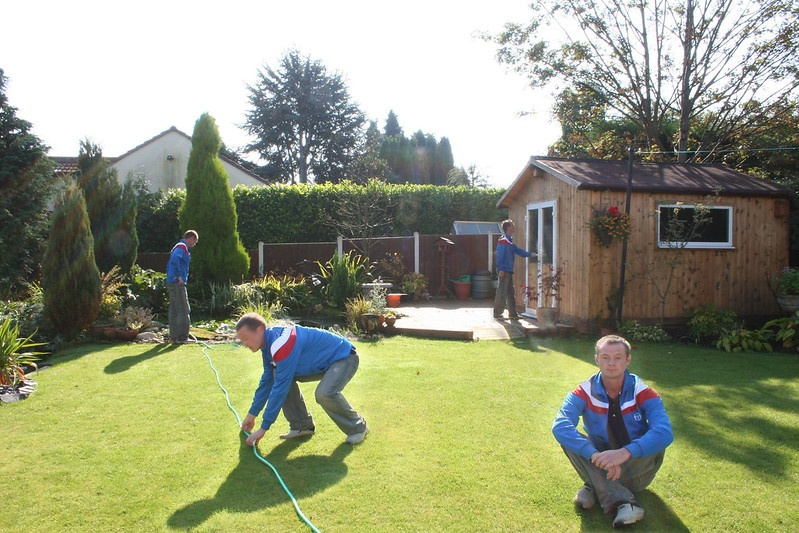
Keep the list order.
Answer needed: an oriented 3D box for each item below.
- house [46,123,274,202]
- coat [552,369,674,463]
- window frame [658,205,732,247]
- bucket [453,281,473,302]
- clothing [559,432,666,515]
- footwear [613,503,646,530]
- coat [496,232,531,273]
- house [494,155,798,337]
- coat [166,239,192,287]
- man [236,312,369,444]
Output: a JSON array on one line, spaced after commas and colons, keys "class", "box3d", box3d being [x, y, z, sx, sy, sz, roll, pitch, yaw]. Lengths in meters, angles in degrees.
[{"class": "house", "box3d": [-10.562, -5.016, 28.608, 6.097, 3.798, 6.115, 0, -2, -36]}, {"class": "coat", "box3d": [2.460, 1.780, 6.747, 0.947, 0.856, 1.145, -10, -11, 19]}, {"class": "window frame", "box3d": [6.565, -0.868, 12.952, 1.857, 0.865, 0.629, 0, -1, -24]}, {"class": "bucket", "box3d": [1.963, 0.791, 18.166, 0.501, 0.453, 0.534, 0, -6, 0]}, {"class": "clothing", "box3d": [2.450, 2.055, 6.730, 1.084, 0.751, 0.663, -11, 21, 5]}, {"class": "footwear", "box3d": [2.567, 2.767, 6.562, 0.164, 0.205, 0.419, -17, -9, 41]}, {"class": "coat", "box3d": [2.603, -0.323, 13.311, 0.794, 1.083, 0.782, 0, 3, 1]}, {"class": "house", "box3d": [5.700, -0.635, 13.689, 5.527, 3.413, 2.685, -1, -1, -7]}, {"class": "coat", "box3d": [-4.324, -0.082, 11.549, 0.384, 0.857, 0.431, -1, -1, -24]}, {"class": "man", "box3d": [-1.291, 1.510, 8.291, 1.804, 1.934, 1.303, 1, -8, -21]}]
